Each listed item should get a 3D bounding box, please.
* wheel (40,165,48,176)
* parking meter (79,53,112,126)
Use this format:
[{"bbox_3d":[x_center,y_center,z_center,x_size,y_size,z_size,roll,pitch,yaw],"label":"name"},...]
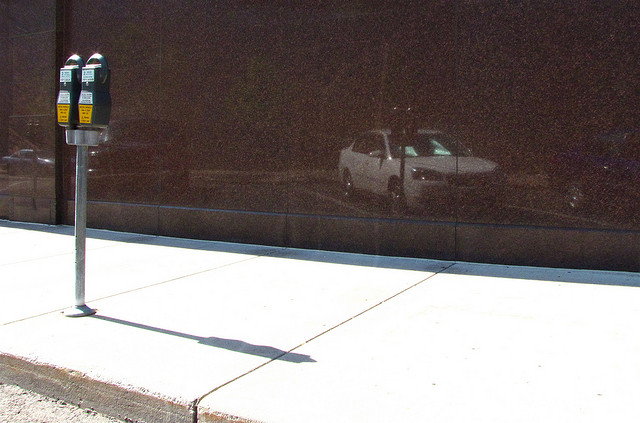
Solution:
[{"bbox_3d":[-5.153,-0.751,11.743,0.199,0.194,0.048,10,17,34],"label":"wheel"},{"bbox_3d":[-2.386,-1.276,6.636,0.329,0.738,0.254,-3,14,-10],"label":"parking meter"}]
